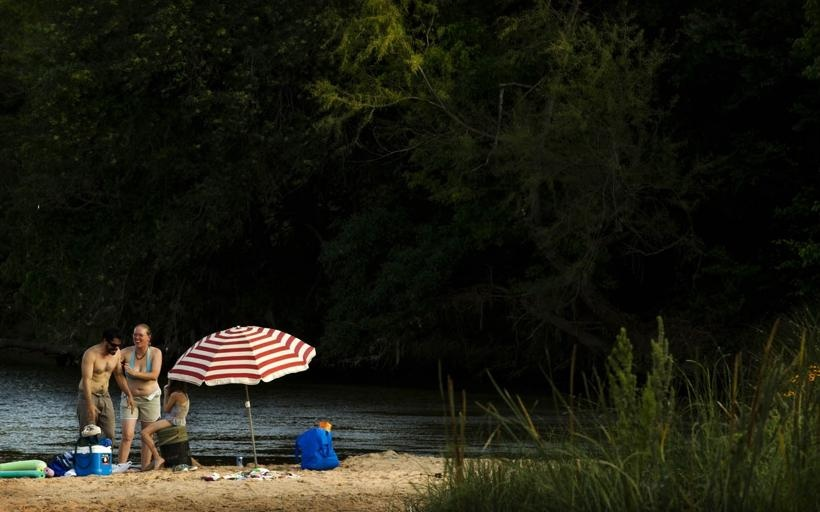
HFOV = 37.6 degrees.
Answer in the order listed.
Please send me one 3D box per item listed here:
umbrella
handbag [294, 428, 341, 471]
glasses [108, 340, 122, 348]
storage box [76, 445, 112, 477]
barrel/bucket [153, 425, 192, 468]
[{"bbox_3d":[-4.284,3.164,32.054,3.064,3.982,3.321,-6,3,-1],"label":"umbrella"},{"bbox_3d":[-2.395,5.003,31.608,1.247,1.450,0.896,-2,-7,18],"label":"handbag"},{"bbox_3d":[-7.499,2.209,30.744,0.182,0.230,0.070,0,-15,23],"label":"glasses"},{"bbox_3d":[-8.137,5.197,30.877,0.985,0.796,0.679,-5,-8,32],"label":"storage box"},{"bbox_3d":[-6.176,5.003,31.635,1.022,1.526,0.911,-3,-18,-18],"label":"barrel/bucket"}]
